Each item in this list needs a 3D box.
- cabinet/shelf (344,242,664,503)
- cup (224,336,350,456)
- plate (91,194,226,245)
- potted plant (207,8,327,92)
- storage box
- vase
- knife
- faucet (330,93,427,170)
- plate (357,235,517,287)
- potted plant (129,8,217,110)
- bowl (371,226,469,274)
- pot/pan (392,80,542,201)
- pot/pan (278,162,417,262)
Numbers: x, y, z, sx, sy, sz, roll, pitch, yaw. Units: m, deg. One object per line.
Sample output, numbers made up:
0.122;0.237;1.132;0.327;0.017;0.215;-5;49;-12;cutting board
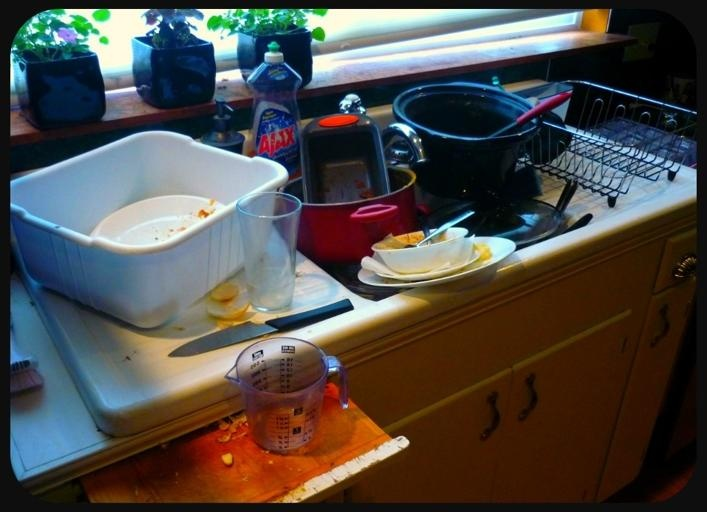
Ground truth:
0.308;0.231;1.035;0.557;0.383;0.302;-28;42;-33;cabinet/shelf
-0.099;0.189;0.704;0.180;0.118;0.135;-5;33;-17;cup
-0.390;-0.073;0.951;0.137;0.024;0.172;12;32;36;plate
-0.204;-0.500;1.233;0.227;0.144;0.221;-13;30;-26;potted plant
-0.324;-0.078;0.955;0.382;0.171;0.459;20;33;26;storage box
-0.587;-0.332;0.998;0.178;0.141;0.173;-15;32;-32;vase
-0.154;0.118;0.795;0.250;0.019;0.047;-14;32;-25;knife
0.063;-0.257;1.105;0.175;0.182;0.224;-4;31;-1;faucet
0.176;0.016;0.893;0.154;0.019;0.148;-10;16;1;plate
-0.421;-0.493;1.235;0.219;0.305;0.209;-8;27;-23;potted plant
0.124;-0.009;0.891;0.116;0.038;0.111;-14;18;5;bowl
0.220;-0.273;1.180;0.334;0.157;0.309;25;42;33;pot/pan
0.013;-0.072;0.957;0.209;0.082;0.204;-17;26;-31;pot/pan
